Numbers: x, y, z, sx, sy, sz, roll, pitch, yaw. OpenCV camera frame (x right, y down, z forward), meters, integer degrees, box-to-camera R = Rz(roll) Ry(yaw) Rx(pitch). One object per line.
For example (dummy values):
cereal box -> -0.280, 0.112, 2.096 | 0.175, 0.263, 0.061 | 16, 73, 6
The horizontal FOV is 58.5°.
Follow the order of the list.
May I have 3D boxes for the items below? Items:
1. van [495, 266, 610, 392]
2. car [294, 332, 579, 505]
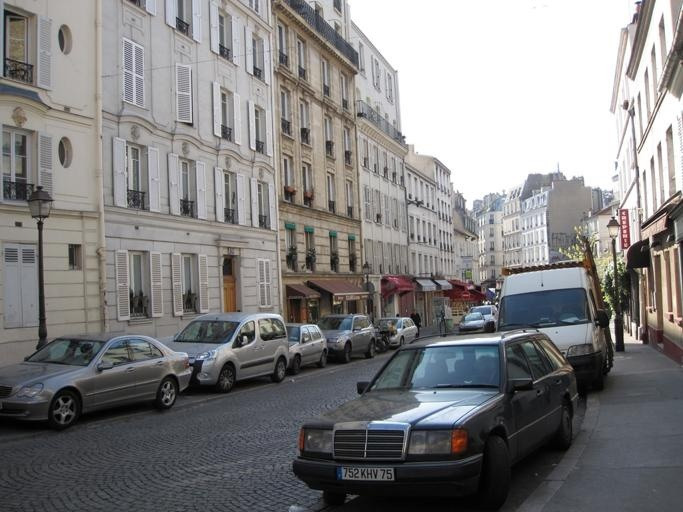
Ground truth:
van -> 5.527, 1.686, 15.696 | 2.019, 2.240, 4.068 | -5, -10, 18
car -> 1.369, 1.991, 7.814 | 1.911, 1.403, 4.011 | -2, -1, 42
